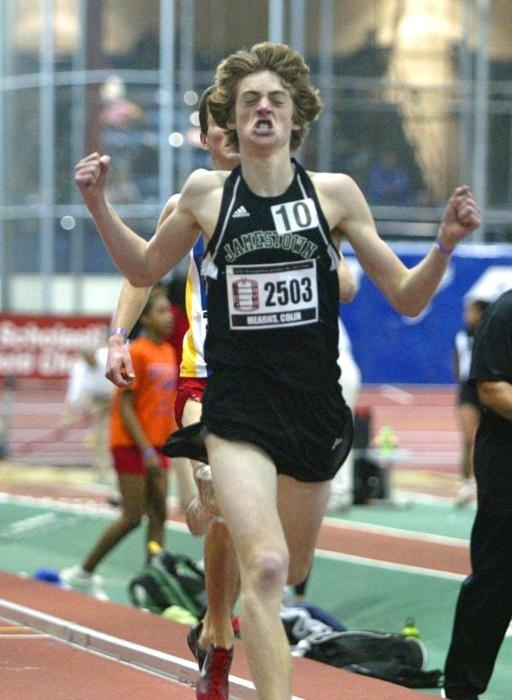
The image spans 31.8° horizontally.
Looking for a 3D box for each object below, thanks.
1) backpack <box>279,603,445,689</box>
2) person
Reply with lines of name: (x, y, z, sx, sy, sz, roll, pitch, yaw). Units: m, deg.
backpack: (0.441, 1.213, 3.610, 0.462, 0.139, 0.358, 13, -4, 0)
person: (0.022, -0.031, 2.249, 0.648, 1.508, 0.817, -4, 8, -41)
